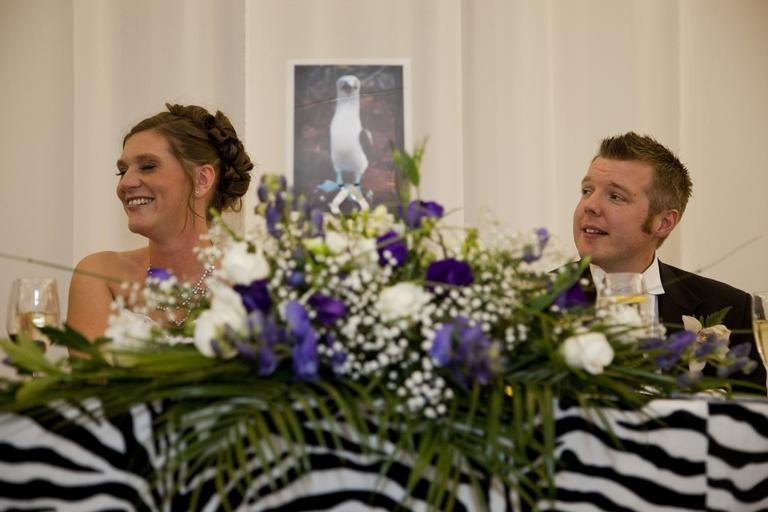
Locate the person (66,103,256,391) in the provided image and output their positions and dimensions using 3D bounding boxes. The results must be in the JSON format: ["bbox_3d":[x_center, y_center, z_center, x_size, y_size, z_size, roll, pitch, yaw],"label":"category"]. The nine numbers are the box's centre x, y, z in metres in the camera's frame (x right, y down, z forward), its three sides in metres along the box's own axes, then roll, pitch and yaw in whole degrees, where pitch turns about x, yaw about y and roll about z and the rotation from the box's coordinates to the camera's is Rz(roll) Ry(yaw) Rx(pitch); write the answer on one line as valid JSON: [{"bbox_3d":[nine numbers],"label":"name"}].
[{"bbox_3d":[-0.949,-0.244,4.243,0.684,0.826,0.307,-1,-3,6],"label":"person"}]

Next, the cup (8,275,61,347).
[{"bbox_3d":[-1.195,0.194,3.346,0.171,0.238,0.374,1,-3,-21],"label":"cup"}]

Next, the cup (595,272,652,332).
[{"bbox_3d":[0.755,0.148,3.104,0.169,0.193,0.236,-1,-3,12],"label":"cup"}]
